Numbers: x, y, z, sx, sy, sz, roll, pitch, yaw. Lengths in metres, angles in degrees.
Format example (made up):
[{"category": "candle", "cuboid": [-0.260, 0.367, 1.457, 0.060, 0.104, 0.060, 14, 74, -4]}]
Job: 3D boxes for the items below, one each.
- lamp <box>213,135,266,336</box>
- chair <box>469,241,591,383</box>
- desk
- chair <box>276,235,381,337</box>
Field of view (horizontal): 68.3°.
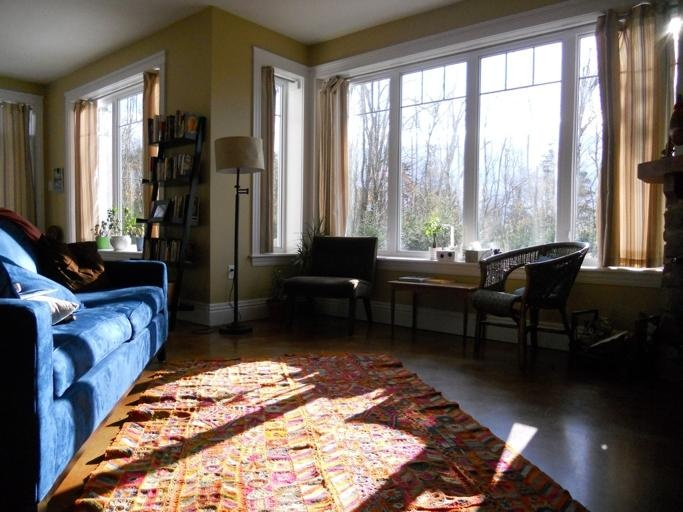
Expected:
[{"category": "lamp", "cuboid": [-0.997, -0.210, 4.909, 0.423, 1.894, 0.752, -1, 7, -14]}, {"category": "chair", "cuboid": [1.538, 0.337, 4.141, 0.833, 1.025, 0.758, 4, 0, -44]}, {"category": "desk", "cuboid": [0.901, 0.500, 4.764, 0.819, 0.554, 0.416, 5, 8, 35]}, {"category": "chair", "cuboid": [-0.099, 0.230, 5.233, 0.859, 0.917, 0.693, 1, 0, 33]}]
